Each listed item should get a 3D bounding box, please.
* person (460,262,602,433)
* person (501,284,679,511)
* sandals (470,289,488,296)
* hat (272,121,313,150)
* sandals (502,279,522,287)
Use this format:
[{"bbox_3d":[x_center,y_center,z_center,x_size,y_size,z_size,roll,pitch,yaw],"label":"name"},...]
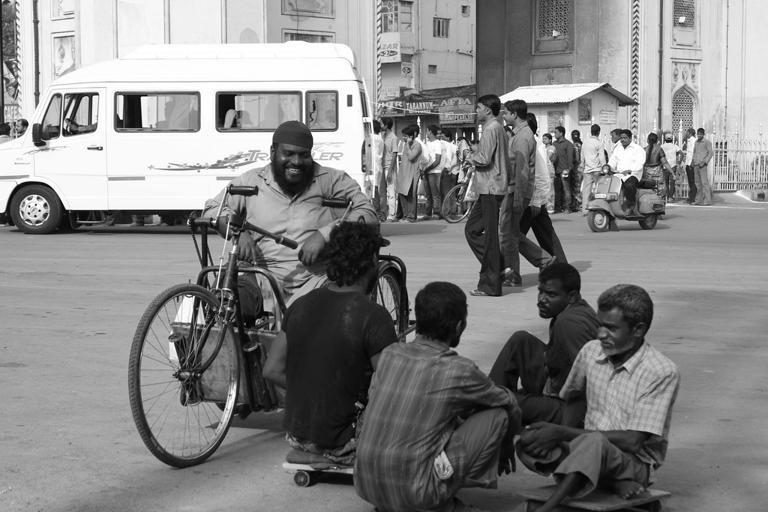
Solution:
[{"bbox_3d":[1.175,0.605,7.371,1.009,1.520,0.826,13,6,4],"label":"person"},{"bbox_3d":[1.431,0.801,6.861,1.339,1.522,1.030,-9,12,-32],"label":"person"},{"bbox_3d":[1.199,0.463,12.546,0.199,0.095,0.083,8,6,6],"label":"sandals"},{"bbox_3d":[-0.749,-0.955,7.831,0.235,0.188,0.247,5,4,-29],"label":"hat"},{"bbox_3d":[1.717,0.377,13.251,0.250,0.122,0.094,3,0,-23],"label":"sandals"}]
